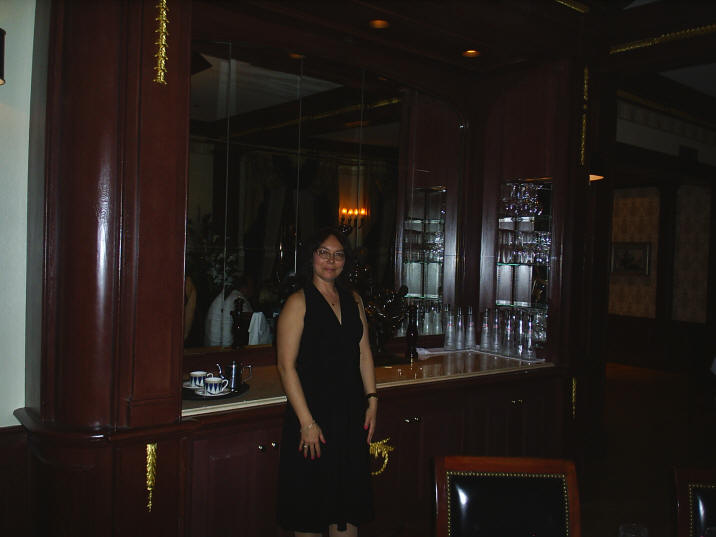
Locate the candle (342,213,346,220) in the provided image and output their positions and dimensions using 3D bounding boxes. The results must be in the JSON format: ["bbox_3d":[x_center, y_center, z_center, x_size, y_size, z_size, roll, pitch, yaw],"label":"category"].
[{"bbox_3d":[-0.107,-0.390,4.527,0.037,0.041,0.021,-6,11,-19],"label":"candle"}]

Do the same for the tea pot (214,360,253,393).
[{"bbox_3d":[-0.687,0.620,3.539,0.127,0.184,0.236,-4,-5,38],"label":"tea pot"}]

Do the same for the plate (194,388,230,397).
[{"bbox_3d":[-0.787,0.667,3.328,0.197,0.034,0.128,2,-1,-13],"label":"plate"}]

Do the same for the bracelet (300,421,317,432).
[{"bbox_3d":[-0.244,0.783,3.051,0.048,0.053,0.046,-5,-4,23],"label":"bracelet"}]

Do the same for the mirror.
[{"bbox_3d":[-0.266,-0.470,4.176,2.013,2.121,0.165,6,-8,-39],"label":"mirror"}]

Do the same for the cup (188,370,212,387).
[{"bbox_3d":[-0.894,0.620,3.473,0.072,0.082,0.117,-4,-7,33],"label":"cup"}]

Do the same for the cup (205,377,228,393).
[{"bbox_3d":[-0.781,0.638,3.374,0.073,0.075,0.096,-7,-10,44],"label":"cup"}]
